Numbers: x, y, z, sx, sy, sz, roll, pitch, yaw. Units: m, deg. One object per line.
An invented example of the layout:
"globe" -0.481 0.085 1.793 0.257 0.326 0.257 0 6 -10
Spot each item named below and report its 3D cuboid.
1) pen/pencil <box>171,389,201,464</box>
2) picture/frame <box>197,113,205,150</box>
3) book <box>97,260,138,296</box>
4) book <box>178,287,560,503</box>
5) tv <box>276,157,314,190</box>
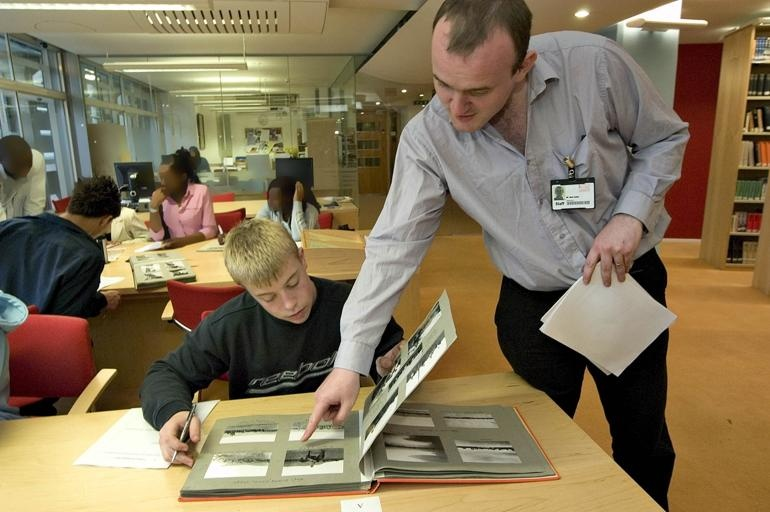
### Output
"pen/pencil" -0.729 0.632 1.899 0.028 0.028 0.263 8 46 7
"picture/frame" -2.700 -1.852 7.665 0.154 0.497 0.046 4 15 20
"book" -1.826 0.148 3.556 0.200 0.054 0.380 -4 17 -21
"book" -0.060 0.434 1.931 1.122 0.537 0.649 1 8 0
"tv" -0.843 -0.812 4.852 0.300 0.365 0.078 -1 -14 -10
